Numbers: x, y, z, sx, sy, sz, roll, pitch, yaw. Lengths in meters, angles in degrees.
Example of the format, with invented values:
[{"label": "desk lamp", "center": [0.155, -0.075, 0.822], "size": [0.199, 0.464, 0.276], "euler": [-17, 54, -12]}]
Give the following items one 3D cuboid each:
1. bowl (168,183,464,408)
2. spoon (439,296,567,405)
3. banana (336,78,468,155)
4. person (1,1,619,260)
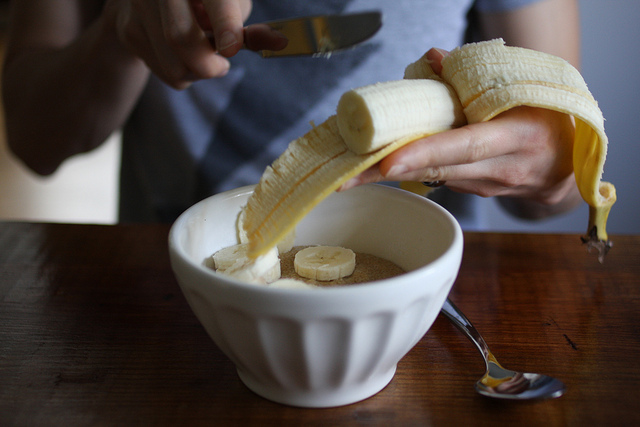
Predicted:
[{"label": "bowl", "center": [-0.003, 0.186, 1.324], "size": [0.565, 0.332, 0.577], "euler": [-2, 20, 1]}, {"label": "spoon", "center": [0.379, 0.294, 1.221], "size": [0.093, 0.040, 0.311], "euler": [-2, 24, -16]}, {"label": "banana", "center": [0.181, -0.211, 1.227], "size": [0.302, 0.129, 0.115], "euler": [-18, 7, -36]}, {"label": "person", "center": [0.109, -0.294, 1.758], "size": [1.395, 0.443, 1.066], "euler": [-3, 10, -32]}]
